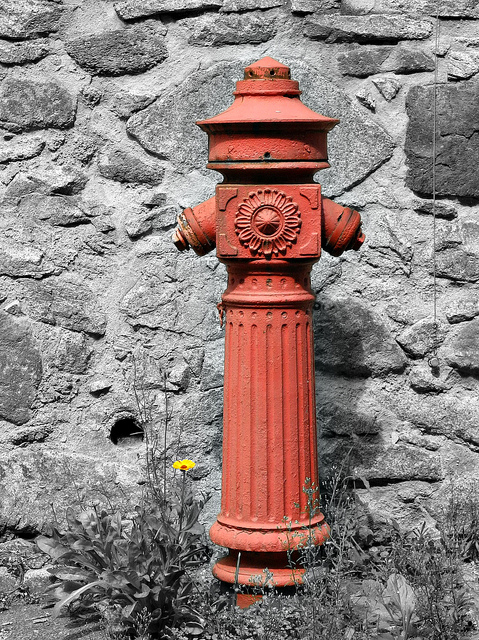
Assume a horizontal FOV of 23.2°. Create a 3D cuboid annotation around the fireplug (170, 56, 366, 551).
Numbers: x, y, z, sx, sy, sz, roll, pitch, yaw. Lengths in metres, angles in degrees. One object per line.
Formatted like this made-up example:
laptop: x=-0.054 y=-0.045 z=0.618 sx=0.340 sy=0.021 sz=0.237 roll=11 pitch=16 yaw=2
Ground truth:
fireplug: x=0.111 y=-0.048 z=3.894 sx=0.467 sy=1.606 sz=0.384 roll=-2 pitch=0 yaw=-1
